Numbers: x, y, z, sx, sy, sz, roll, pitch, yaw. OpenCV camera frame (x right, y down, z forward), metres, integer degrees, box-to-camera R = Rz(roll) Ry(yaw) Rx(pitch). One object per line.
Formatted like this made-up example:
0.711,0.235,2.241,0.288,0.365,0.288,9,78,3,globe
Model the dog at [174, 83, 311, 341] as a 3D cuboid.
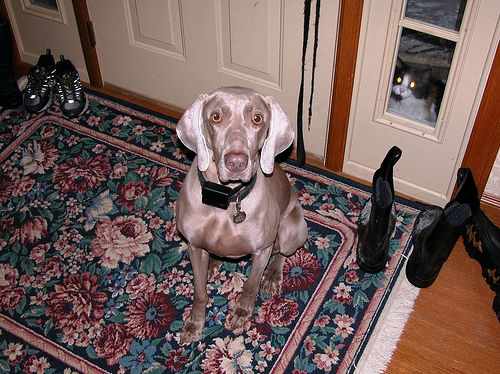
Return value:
-0.049,0.179,2.128,0.868,1.480,0.434,-17,43,-19,dog
